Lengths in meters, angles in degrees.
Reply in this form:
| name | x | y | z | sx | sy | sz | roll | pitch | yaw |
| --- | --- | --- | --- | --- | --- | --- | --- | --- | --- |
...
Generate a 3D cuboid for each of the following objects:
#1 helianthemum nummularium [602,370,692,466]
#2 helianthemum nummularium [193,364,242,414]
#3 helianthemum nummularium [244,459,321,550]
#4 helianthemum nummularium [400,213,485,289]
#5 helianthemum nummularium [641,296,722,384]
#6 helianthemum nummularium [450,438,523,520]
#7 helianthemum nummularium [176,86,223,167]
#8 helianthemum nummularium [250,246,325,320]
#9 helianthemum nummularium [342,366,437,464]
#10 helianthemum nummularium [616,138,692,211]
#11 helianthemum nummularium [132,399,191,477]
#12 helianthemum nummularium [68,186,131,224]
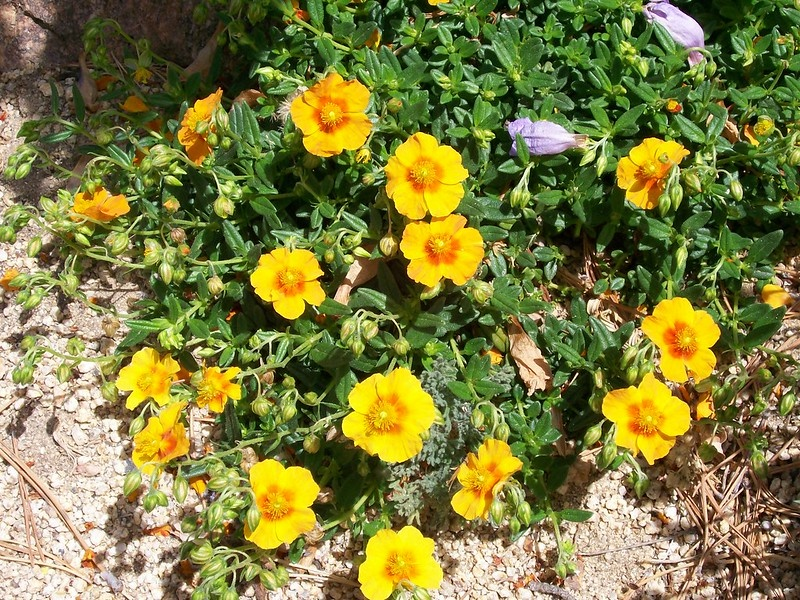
| name | x | y | z | sx | sy | sz | roll | pitch | yaw |
| --- | --- | --- | --- | --- | --- | --- | --- | --- | --- |
| helianthemum nummularium | 1.124 | 0.523 | 3.500 | 0.423 | 0.158 | 0.411 | -15 | 27 | 4 |
| helianthemum nummularium | -0.864 | 0.422 | 3.720 | 0.207 | 0.171 | 0.196 | 2 | 78 | -5 |
| helianthemum nummularium | -0.535 | 0.926 | 3.534 | 0.307 | 0.160 | 0.384 | 8 | 77 | -4 |
| helianthemum nummularium | 0.189 | -0.228 | 3.660 | 0.370 | 0.163 | 0.327 | -8 | 79 | -7 |
| helianthemum nummularium | 1.291 | 0.210 | 3.584 | 0.354 | 0.175 | 0.368 | 19 | 52 | 1 |
| helianthemum nummularium | 0.366 | 0.803 | 3.529 | 0.334 | 0.159 | 0.340 | 11 | 100 | 33 |
| helianthemum nummularium | -1.001 | -0.847 | 3.895 | 0.260 | 0.413 | 0.374 | -1 | 78 | -5 |
| helianthemum nummularium | -0.529 | -0.088 | 3.712 | 0.313 | 0.169 | 0.321 | -26 | 82 | -10 |
| helianthemum nummularium | -0.049 | 0.513 | 3.528 | 0.396 | 0.123 | 0.402 | 37 | 77 | 3 |
| helianthemum nummularium | 1.162 | -0.638 | 3.687 | 0.252 | 0.165 | 0.318 | 31 | 77 | 2 |
| helianthemum nummularium | -1.121 | 0.646 | 3.676 | 0.312 | 0.122 | 0.323 | -32 | 56 | 14 |
| helianthemum nummularium | -1.544 | -0.483 | 4.078 | 0.198 | 0.100 | 0.216 | -15 | 61 | -10 |
